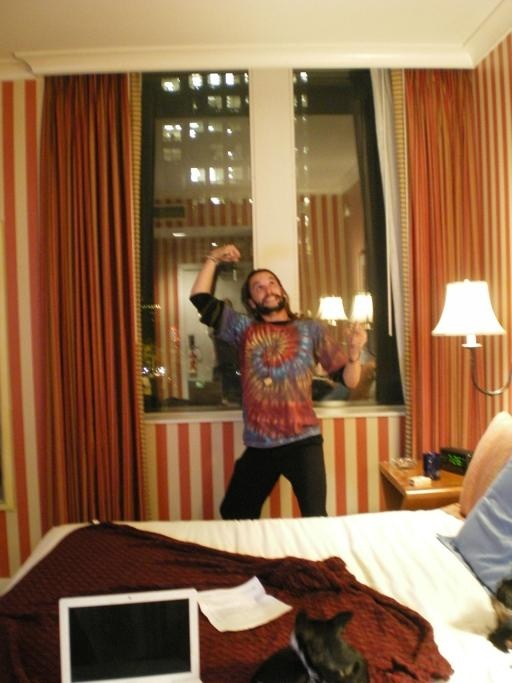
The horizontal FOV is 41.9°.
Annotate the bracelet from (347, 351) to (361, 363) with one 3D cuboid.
[{"bbox_3d":[0.477,0.079,3.222,0.036,0.061,0.055,-1,-11,1],"label":"bracelet"}]

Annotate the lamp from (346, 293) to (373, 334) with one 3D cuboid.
[{"bbox_3d":[0.548,-0.159,3.566,0.139,0.297,0.155,0,4,2],"label":"lamp"}]

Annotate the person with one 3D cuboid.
[{"bbox_3d":[0.052,0.191,3.205,0.772,1.272,0.488,5,8,29],"label":"person"}]

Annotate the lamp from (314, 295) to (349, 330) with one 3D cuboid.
[{"bbox_3d":[0.380,-0.141,3.395,0.127,0.189,0.142,-1,5,10],"label":"lamp"}]

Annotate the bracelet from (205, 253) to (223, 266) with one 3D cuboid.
[{"bbox_3d":[-0.207,-0.405,3.302,0.047,0.026,0.064,20,-1,-23],"label":"bracelet"}]

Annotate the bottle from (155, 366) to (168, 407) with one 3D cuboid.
[{"bbox_3d":[-0.483,0.229,3.413,0.061,0.196,0.025,0,7,-10],"label":"bottle"}]
